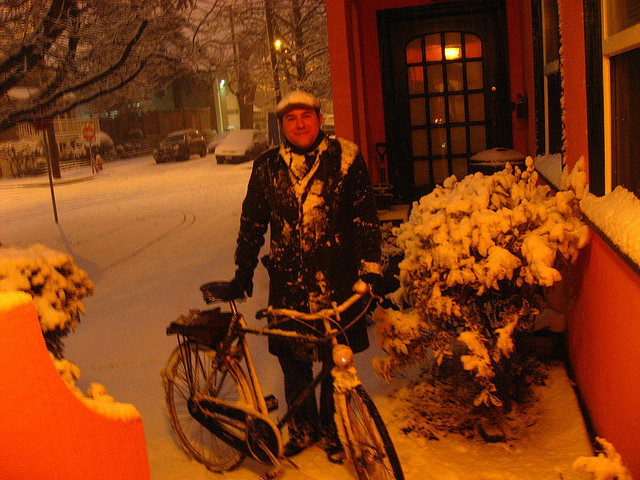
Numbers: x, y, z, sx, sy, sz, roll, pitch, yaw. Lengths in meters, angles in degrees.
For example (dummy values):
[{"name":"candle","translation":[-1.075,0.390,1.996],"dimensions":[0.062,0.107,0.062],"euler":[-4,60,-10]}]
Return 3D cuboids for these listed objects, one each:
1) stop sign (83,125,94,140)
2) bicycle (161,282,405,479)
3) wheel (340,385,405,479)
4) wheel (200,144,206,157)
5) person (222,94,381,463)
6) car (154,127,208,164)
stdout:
[{"name":"stop sign","translation":[-6.897,-3.174,14.336],"dimensions":[0.274,0.422,0.511],"euler":[-9,11,-28]},{"name":"bicycle","translation":[-0.203,1.018,3.414],"dimensions":[1.860,1.451,0.927],"euler":[-4,-6,30]},{"name":"wheel","translation":[0.254,1.067,2.495],"dimensions":[0.131,0.636,0.415],"euler":[-8,10,-26]},{"name":"wheel","translation":[-4.725,-3.566,19.315],"dimensions":[0.125,0.455,0.414],"euler":[-7,3,13]},{"name":"person","translation":[-0.068,0.306,2.952],"dimensions":[0.725,2.296,0.870],"euler":[-11,12,-38]},{"name":"car","translation":[-5.334,-3.677,18.825],"dimensions":[1.006,0.951,1.679],"euler":[1,12,23]}]
